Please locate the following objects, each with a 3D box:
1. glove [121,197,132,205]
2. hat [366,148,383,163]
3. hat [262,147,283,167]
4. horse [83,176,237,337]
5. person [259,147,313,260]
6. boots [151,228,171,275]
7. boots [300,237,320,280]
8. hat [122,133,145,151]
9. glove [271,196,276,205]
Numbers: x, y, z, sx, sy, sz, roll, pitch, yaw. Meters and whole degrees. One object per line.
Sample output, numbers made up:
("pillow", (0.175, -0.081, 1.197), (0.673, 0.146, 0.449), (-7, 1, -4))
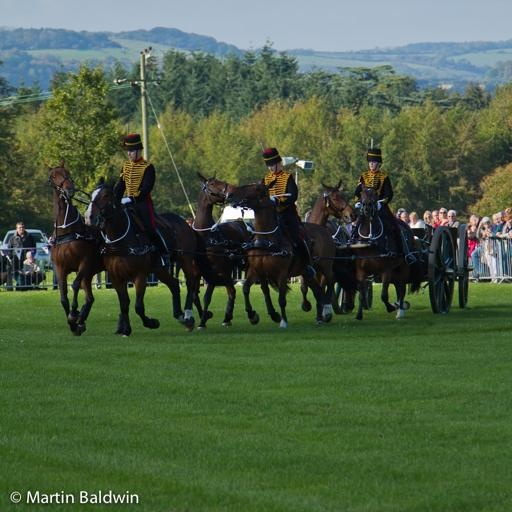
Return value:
("glove", (-1.880, -0.770, 21.645), (0.111, 0.086, 0.201), (12, 0, -2))
("hat", (1.845, -1.562, 23.709), (0.201, 0.228, 0.256), (3, 9, 17))
("hat", (0.242, -1.485, 22.853), (0.217, 0.236, 0.304), (-29, 4, -4))
("horse", (-1.528, 0.112, 21.963), (0.770, 2.167, 3.085), (-7, -8, 32))
("person", (0.363, -0.725, 22.762), (0.528, 1.848, 0.545), (-14, 23, -4))
("boots", (-1.468, -0.043, 21.693), (0.140, 0.614, 0.339), (-13, -16, 14))
("boots", (0.787, 0.055, 22.458), (0.153, 0.650, 0.212), (-5, 2, 2))
("hat", (-1.795, -1.664, 21.918), (0.238, 0.147, 0.268), (8, 29, 22))
("glove", (0.243, -0.797, 22.111), (0.068, 0.114, 0.203), (-1, 4, 0))
